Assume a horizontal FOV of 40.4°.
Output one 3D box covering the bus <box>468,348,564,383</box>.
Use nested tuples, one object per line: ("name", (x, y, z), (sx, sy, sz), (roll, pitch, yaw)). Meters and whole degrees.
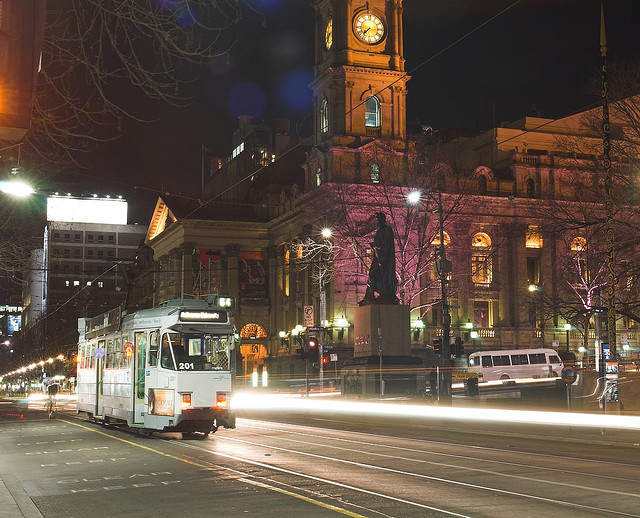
("bus", (12.719, 7.218, 55.669), (5.791, 2.303, 2.358), (-2, -24, -7))

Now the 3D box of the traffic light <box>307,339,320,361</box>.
("traffic light", (-0.338, 4.667, 44.845), (0.390, 1.152, 0.889), (-9, -13, 36))

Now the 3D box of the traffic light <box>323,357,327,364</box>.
("traffic light", (0.239, 5.176, 44.115), (0.081, 0.274, 0.259), (3, 6, 11))
